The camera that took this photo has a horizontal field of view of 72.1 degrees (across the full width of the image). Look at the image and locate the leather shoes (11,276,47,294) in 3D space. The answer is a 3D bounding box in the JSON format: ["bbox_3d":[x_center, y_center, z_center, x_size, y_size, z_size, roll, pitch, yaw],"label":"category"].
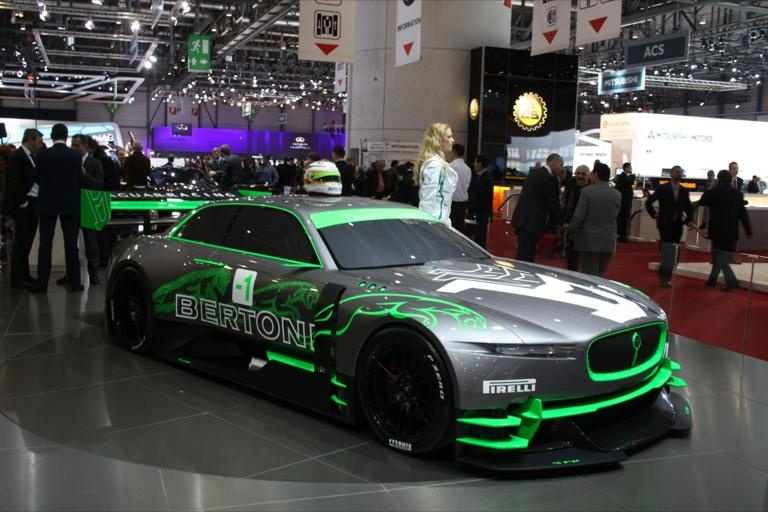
[{"bbox_3d":[-5.467,0.447,8.178,0.497,0.217,0.177,6,11,8],"label":"leather shoes"}]

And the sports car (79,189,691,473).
[{"bbox_3d":[-0.164,0.489,4.585,4.031,1.239,2.294,10,10,38],"label":"sports car"}]

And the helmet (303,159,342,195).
[{"bbox_3d":[-0.649,-0.870,5.687,0.405,0.358,0.308,6,11,26],"label":"helmet"}]
